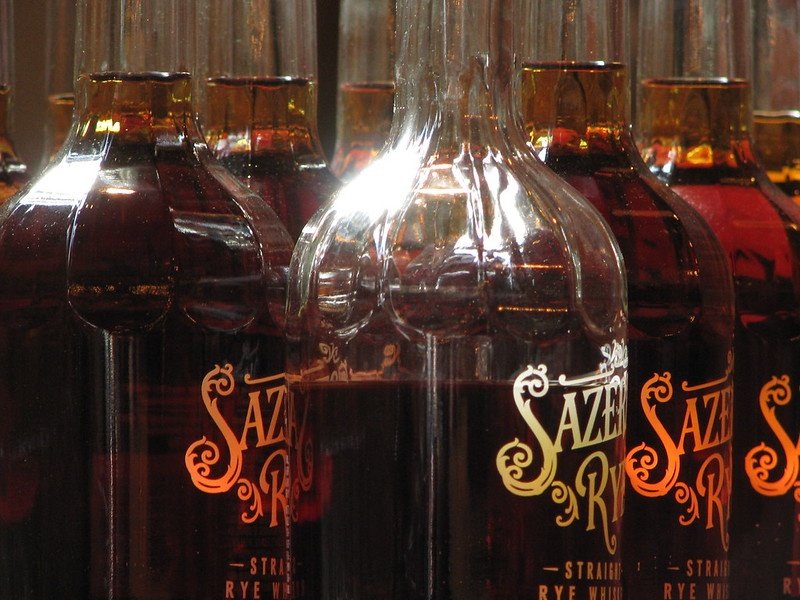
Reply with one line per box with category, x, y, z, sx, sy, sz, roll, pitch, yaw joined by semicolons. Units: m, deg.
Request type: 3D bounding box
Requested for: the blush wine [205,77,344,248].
blush wine;-0.060;-0.065;0.830;0.066;0.079;0.066;-2;6;-21
